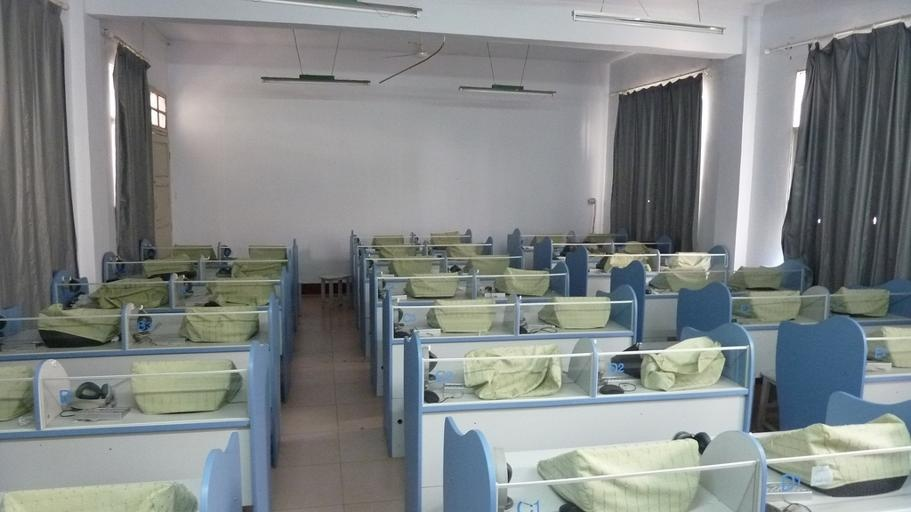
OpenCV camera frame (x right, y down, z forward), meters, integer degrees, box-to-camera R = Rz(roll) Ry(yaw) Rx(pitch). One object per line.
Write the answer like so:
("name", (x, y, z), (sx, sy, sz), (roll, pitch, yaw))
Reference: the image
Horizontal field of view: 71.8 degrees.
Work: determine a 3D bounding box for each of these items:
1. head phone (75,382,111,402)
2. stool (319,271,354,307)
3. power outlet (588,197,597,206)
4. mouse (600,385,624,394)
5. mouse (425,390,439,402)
("head phone", (-3.478, 1.294, 6.023), (0.255, 0.125, 0.185), (4, -8, -19))
("stool", (-2.289, 0.594, 11.980), (0.577, 0.492, 0.546), (-4, 11, -24))
("power outlet", (2.912, -1.173, 13.427), (0.268, 0.181, 0.139), (0, 14, 2))
("mouse", (1.548, 1.328, 6.278), (0.178, 0.042, 0.098), (-1, 7, -21))
("mouse", (-0.232, 1.363, 6.134), (0.148, 0.100, 0.106), (-1, 3, -3))
